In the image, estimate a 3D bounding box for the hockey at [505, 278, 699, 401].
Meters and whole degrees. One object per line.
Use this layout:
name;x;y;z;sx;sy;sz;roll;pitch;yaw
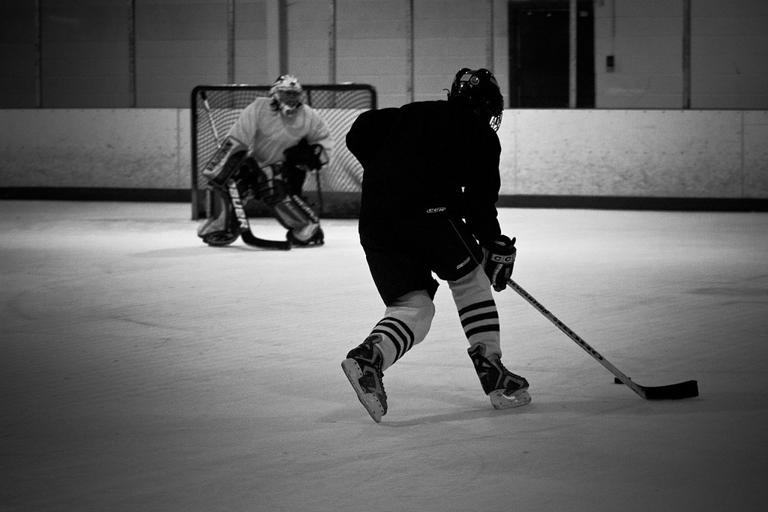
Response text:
hockey;0.844;0.285;2.497;0.726;0.427;0.461;4;10;9

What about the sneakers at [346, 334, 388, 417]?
sneakers;-0.059;0.414;2.089;0.147;0.278;0.160;4;10;6

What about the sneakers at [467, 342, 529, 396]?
sneakers;0.416;0.413;2.231;0.201;0.184;0.068;2;-10;-19

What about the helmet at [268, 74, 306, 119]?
helmet;-0.983;-1.681;6.544;0.352;0.385;0.429;-4;19;-29

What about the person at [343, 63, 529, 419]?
person;0.186;0.003;2.148;0.676;1.038;0.433;3;10;0
